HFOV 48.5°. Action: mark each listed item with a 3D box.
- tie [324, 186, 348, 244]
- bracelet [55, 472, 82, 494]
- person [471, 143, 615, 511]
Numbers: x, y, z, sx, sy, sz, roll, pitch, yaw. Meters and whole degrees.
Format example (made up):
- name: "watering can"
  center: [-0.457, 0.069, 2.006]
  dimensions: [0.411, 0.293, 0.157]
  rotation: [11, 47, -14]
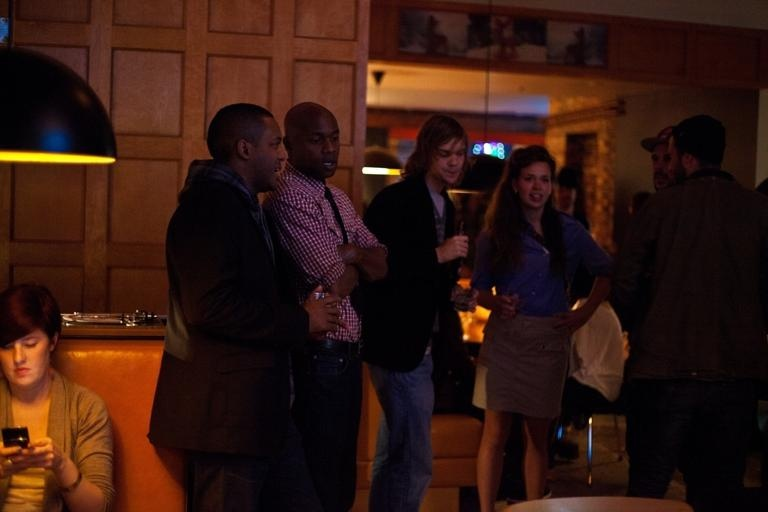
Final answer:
- name: "tie"
  center: [-0.223, -0.176, 3.871]
  dimensions: [0.038, 0.271, 0.040]
  rotation: [-14, -15, -16]
- name: "bracelet"
  center: [-1.346, 0.978, 3.644]
  dimensions: [0.021, 0.074, 0.074]
  rotation: [33, -51, -28]
- name: "person"
  center: [0.832, 0.388, 4.672]
  dimensions: [0.744, 1.990, 0.455]
  rotation: [1, 4, -2]
